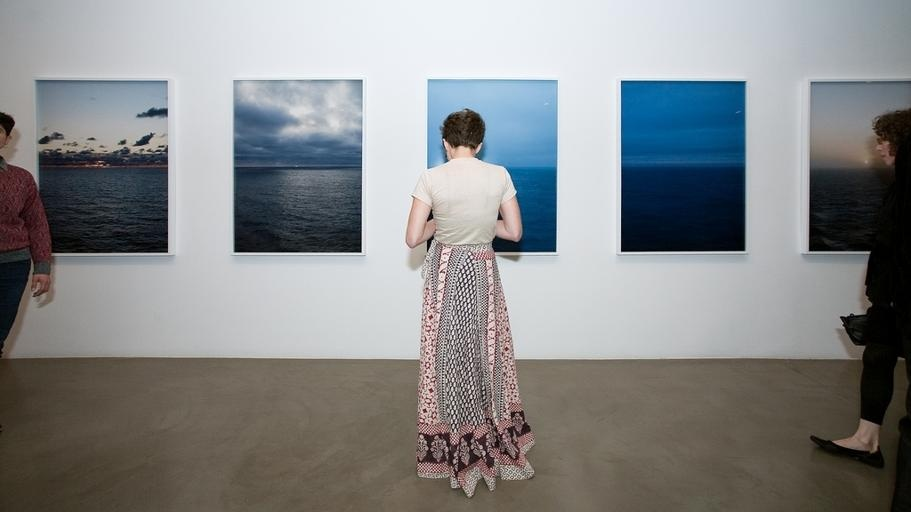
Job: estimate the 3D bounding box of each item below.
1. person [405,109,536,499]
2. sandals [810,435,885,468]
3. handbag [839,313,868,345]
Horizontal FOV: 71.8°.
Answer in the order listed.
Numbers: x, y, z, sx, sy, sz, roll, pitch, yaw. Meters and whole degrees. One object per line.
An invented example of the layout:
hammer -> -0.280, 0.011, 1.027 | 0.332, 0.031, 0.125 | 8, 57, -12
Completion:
person -> 0.117, 0.430, 5.975 | 1.123, 3.585, 0.627 | -2, 8, -6
sandals -> 3.896, 1.945, 6.381 | 0.692, 0.251, 0.226 | 11, -7, 25
handbag -> 4.035, 0.722, 6.376 | 0.287, 0.349, 0.136 | 0, -8, -33
